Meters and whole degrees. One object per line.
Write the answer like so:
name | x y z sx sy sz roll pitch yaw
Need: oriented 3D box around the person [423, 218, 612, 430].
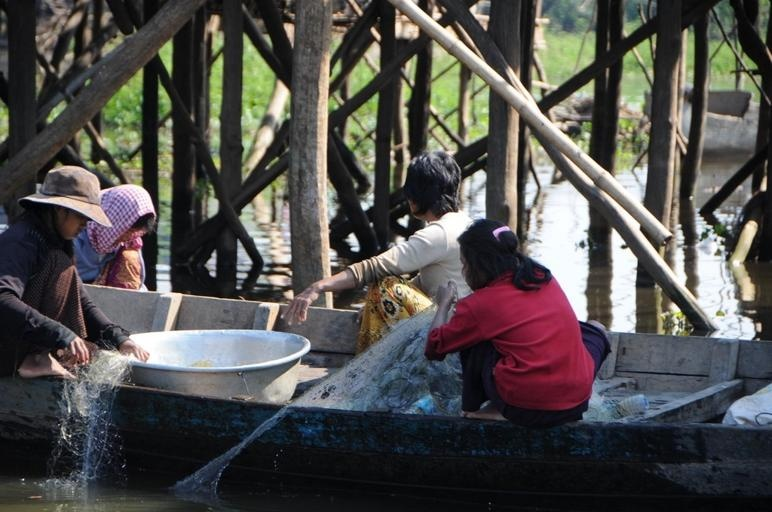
person | 1.173 0.637 15.879 1.505 1.946 0.512 0 -7 1

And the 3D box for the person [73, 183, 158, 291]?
person | -2.783 -0.179 17.103 0.608 0.552 0.954 24 -33 -1

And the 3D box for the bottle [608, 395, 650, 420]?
bottle | 2.308 1.443 16.187 0.316 0.195 0.129 -9 17 10

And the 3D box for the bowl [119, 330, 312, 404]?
bowl | -1.617 1.049 16.530 1.054 0.427 0.945 8 2 24

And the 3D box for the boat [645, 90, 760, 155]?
boat | 5.474 -2.287 28.744 1.240 0.810 1.691 0 1 -33
